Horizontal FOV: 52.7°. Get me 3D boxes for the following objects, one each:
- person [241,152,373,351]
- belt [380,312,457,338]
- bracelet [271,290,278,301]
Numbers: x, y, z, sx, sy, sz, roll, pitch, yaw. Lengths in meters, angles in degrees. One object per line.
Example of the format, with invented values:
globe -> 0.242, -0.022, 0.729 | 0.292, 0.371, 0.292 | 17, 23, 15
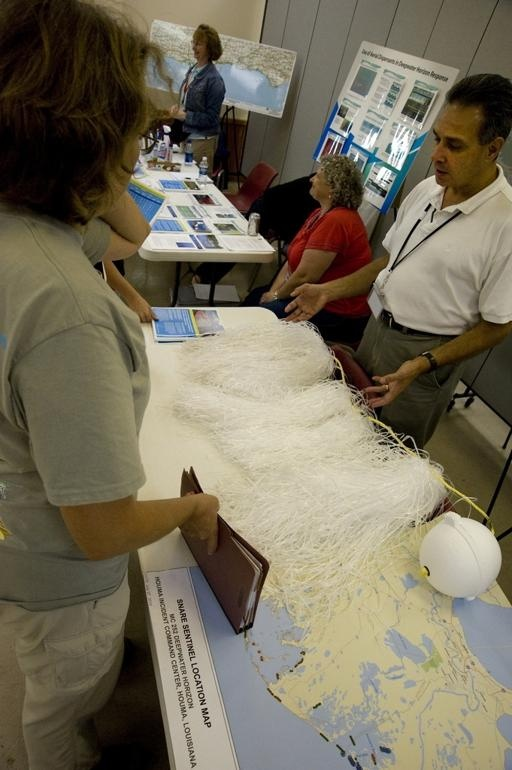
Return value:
person -> 0.262, -0.648, 3.120 | 0.808, 1.445, 0.620 | 3, 11, -4
belt -> 0.602, -0.227, 2.041 | 0.154, 0.043, 0.145 | 10, 26, -9
bracelet -> 0.116, -0.565, 3.196 | 0.047, 0.021, 0.058 | 6, 24, 0
